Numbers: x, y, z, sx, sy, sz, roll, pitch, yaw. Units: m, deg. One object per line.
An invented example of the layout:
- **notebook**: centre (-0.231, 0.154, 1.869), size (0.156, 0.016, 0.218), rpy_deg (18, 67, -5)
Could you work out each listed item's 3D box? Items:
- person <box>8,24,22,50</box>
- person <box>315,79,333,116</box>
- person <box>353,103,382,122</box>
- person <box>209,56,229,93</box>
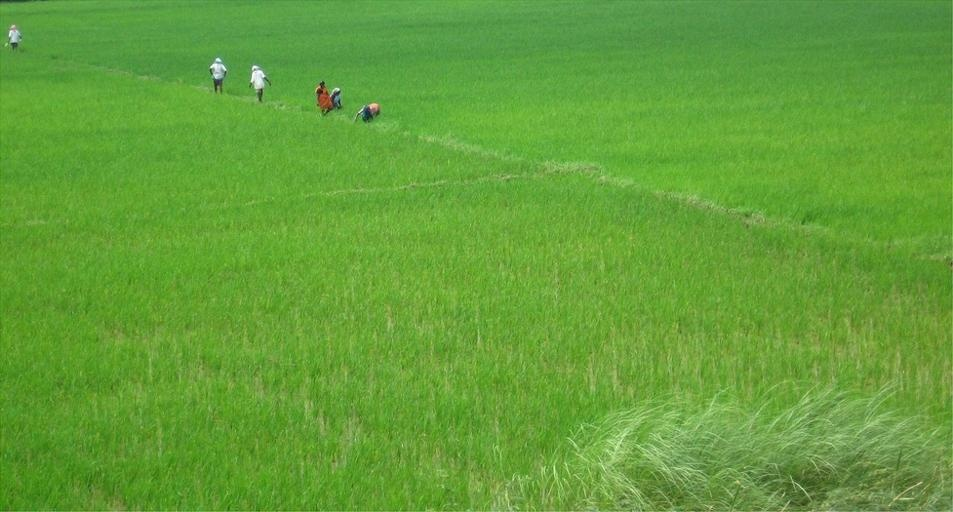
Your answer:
- **person**: centre (-17.415, -8.199, 37.556), size (0.469, 0.850, 0.879), rpy_deg (-4, 15, -24)
- **person**: centre (-4.932, -5.098, 32.268), size (0.537, 1.020, 0.562), rpy_deg (0, 14, -10)
- **person**: centre (-3.407, -4.601, 31.903), size (0.703, 0.334, 1.310), rpy_deg (4, 20, 11)
- **person**: centre (-8.665, -5.995, 33.356), size (0.415, 1.099, 1.708), rpy_deg (-1, 14, -14)
